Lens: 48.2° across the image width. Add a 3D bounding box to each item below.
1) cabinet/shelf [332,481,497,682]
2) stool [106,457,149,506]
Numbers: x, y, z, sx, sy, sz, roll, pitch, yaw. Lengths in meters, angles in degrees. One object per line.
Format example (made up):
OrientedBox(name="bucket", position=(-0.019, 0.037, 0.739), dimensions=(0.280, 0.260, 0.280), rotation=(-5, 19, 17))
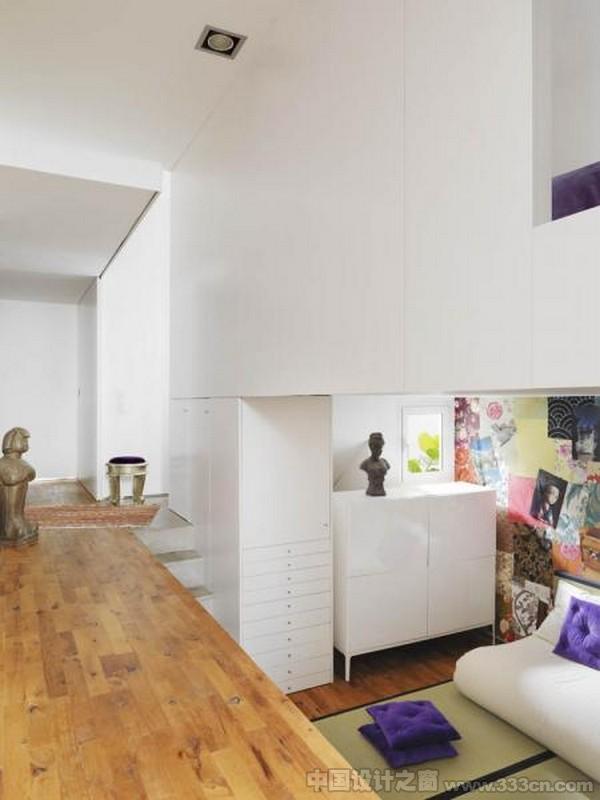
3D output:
OrientedBox(name="cabinet/shelf", position=(0.670, 1.099, 4.042), dimensions=(1.203, 0.992, 0.420), rotation=(-1, -1, -32))
OrientedBox(name="stool", position=(-1.349, 0.612, 5.235), dimensions=(0.336, 0.351, 0.328), rotation=(-1, 1, -40))
